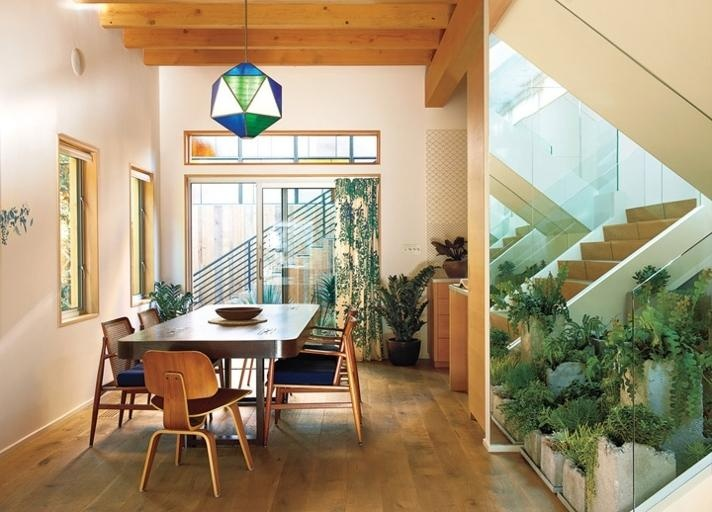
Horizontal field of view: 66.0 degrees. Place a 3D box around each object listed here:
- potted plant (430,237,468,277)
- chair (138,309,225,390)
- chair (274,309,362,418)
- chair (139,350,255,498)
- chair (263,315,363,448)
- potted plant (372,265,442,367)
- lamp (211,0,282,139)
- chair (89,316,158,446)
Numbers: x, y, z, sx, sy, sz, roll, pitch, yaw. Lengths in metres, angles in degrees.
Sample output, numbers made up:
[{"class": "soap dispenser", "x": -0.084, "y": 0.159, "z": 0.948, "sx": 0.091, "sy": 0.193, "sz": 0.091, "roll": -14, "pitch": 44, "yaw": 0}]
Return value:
[{"class": "potted plant", "x": 1.103, "y": 0.021, "z": 6.495, "sx": 0.457, "sy": 0.451, "sz": 0.468, "roll": 0, "pitch": -9, "yaw": -1}, {"class": "chair", "x": -1.533, "y": 0.779, "z": 4.952, "sx": 0.569, "sy": 0.827, "sz": 0.522, "roll": -20, "pitch": 4, "yaw": -27}, {"class": "chair", "x": -0.332, "y": 0.892, "z": 4.595, "sx": 0.774, "sy": 0.714, "sz": 1.153, "roll": -3, "pitch": -2, "yaw": 3}, {"class": "chair", "x": -1.041, "y": 1.036, "z": 3.606, "sx": 0.577, "sy": 0.896, "sz": 0.609, "roll": -1, "pitch": -1, "yaw": 8}, {"class": "chair", "x": -0.367, "y": 1.009, "z": 4.690, "sx": 0.776, "sy": 0.861, "sz": 1.337, "roll": -1, "pitch": -4, "yaw": -2}, {"class": "potted plant", "x": 0.611, "y": 0.719, "z": 6.555, "sx": 0.639, "sy": 1.123, "sz": 0.738, "roll": -1, "pitch": 0, "yaw": -32}, {"class": "lamp", "x": -0.852, "y": -1.237, "z": 4.281, "sx": 0.534, "sy": 0.587, "sz": 0.276, "roll": -1, "pitch": 5, "yaw": -14}, {"class": "chair", "x": -1.634, "y": 0.961, "z": 4.316, "sx": 0.632, "sy": 0.886, "sz": 0.648, "roll": 3, "pitch": 2, "yaw": -3}]
